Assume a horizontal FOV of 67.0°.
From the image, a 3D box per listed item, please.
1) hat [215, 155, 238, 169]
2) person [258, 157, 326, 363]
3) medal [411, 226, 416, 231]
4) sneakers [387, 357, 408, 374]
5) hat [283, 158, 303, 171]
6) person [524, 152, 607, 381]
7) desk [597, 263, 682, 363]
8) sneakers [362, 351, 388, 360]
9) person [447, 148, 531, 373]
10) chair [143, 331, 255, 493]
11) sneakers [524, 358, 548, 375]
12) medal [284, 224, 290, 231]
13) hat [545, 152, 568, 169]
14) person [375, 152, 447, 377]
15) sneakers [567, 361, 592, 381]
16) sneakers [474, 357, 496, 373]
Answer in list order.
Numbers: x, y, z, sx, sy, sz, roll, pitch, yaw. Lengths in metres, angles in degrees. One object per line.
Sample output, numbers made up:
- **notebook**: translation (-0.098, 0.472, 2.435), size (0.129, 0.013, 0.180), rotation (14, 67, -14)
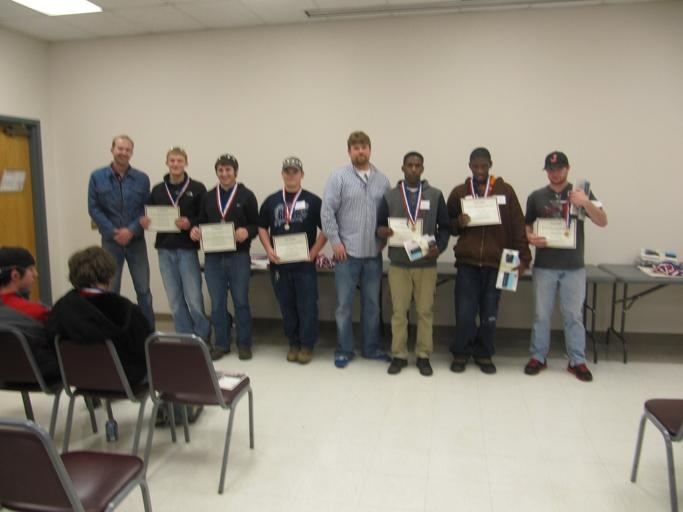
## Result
- **hat**: translation (-1.098, -0.888, 4.977), size (0.152, 0.151, 0.234), rotation (4, 16, 16)
- **person**: translation (-0.472, 0.061, 4.986), size (0.644, 1.949, 0.476), rotation (0, 13, 1)
- **medal**: translation (0.639, -0.234, 4.575), size (0.038, 0.045, 0.024), rotation (3, 20, 10)
- **sneakers**: translation (0.519, 1.021, 4.781), size (0.081, 0.191, 0.242), rotation (-5, -12, 29)
- **hat**: translation (-0.459, -0.862, 4.883), size (0.163, 0.116, 0.268), rotation (1, 16, 5)
- **person**: translation (1.971, 0.095, 4.615), size (0.670, 1.968, 0.531), rotation (5, 15, 22)
- **desk**: translation (2.837, 0.527, 5.160), size (0.862, 1.035, 0.870), rotation (-1, 4, 2)
- **sneakers**: translation (0.340, 0.948, 5.007), size (0.182, 0.082, 0.104), rotation (-3, -1, 15)
- **person**: translation (1.320, 0.058, 4.694), size (0.690, 2.002, 0.440), rotation (0, 13, 4)
- **chair**: translation (-0.972, 0.983, 3.517), size (0.535, 1.123, 0.732), rotation (2, 9, 7)
- **sneakers**: translation (1.795, 1.010, 4.770), size (0.089, 0.130, 0.264), rotation (-1, 2, 38)
- **medal**: translation (-0.519, -0.266, 4.860), size (0.040, 0.064, 0.014), rotation (6, 3, 11)
- **hat**: translation (1.883, -0.842, 4.513), size (0.129, 0.138, 0.201), rotation (-1, 10, 31)
- **person**: translation (0.648, 0.085, 4.701), size (0.651, 1.978, 0.482), rotation (1, 13, 6)
- **sneakers**: translation (2.149, 1.038, 4.677), size (0.087, 0.124, 0.243), rotation (-9, 9, -25)
- **sneakers**: translation (1.332, 1.013, 4.796), size (0.076, 0.098, 0.221), rotation (-2, 5, -18)
